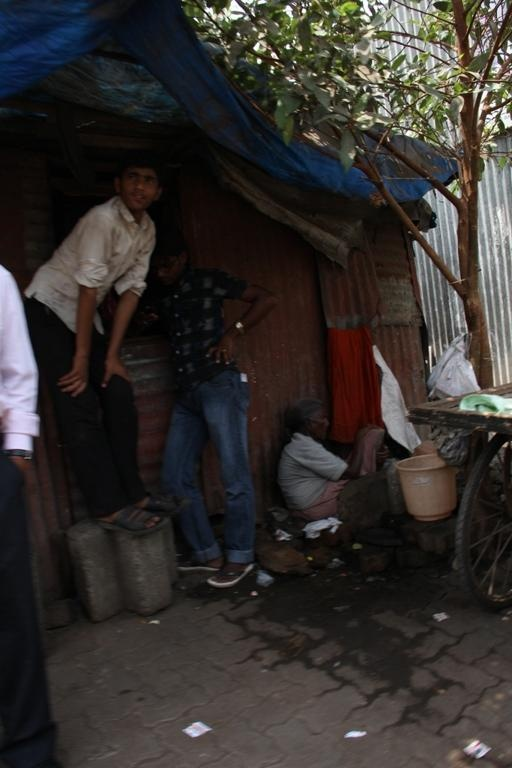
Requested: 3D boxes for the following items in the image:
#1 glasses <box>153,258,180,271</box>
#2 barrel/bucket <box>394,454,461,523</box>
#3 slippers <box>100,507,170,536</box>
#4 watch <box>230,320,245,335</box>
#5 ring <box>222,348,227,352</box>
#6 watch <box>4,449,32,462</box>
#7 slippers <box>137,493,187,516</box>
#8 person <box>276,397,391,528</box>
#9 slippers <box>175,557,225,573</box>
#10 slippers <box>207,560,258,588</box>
[{"bbox_3d":[-0.559,-0.730,3.825,0.109,0.103,0.067,2,11,-10],"label":"glasses"},{"bbox_3d":[1.034,0.609,3.636,0.400,0.324,0.373,-7,0,0],"label":"barrel/bucket"},{"bbox_3d":[-0.638,0.719,3.224,0.303,0.106,0.139,0,12,3],"label":"slippers"},{"bbox_3d":[-0.122,-0.357,3.852,0.095,0.083,0.055,-6,46,-22],"label":"watch"},{"bbox_3d":[-0.195,-0.209,3.767,0.032,0.019,0.018,-6,3,-11],"label":"ring"},{"bbox_3d":[-0.738,0.219,1.900,0.067,0.022,0.047,0,-13,10],"label":"watch"},{"bbox_3d":[-0.521,0.647,3.390,0.244,0.092,0.096,-6,31,-11],"label":"slippers"},{"bbox_3d":[0.518,0.521,4.419,0.761,0.828,0.462,-6,3,-5],"label":"person"},{"bbox_3d":[-0.354,1.142,3.874,0.289,0.101,0.101,3,-1,5],"label":"slippers"},{"bbox_3d":[-0.118,1.146,3.765,0.367,0.095,0.125,-7,4,-42],"label":"slippers"}]
